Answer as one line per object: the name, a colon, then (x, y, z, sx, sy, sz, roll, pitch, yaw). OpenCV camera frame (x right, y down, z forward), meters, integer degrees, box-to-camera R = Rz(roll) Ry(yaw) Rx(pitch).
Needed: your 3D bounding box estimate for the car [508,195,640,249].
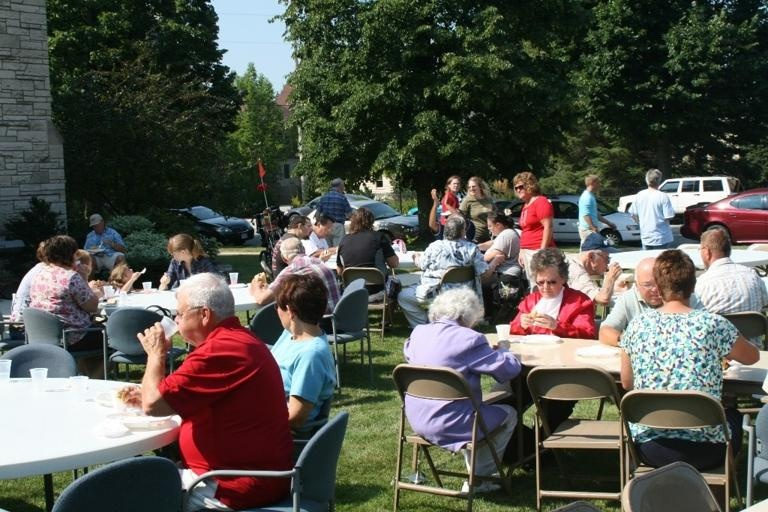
car: (5.275, -0.622, 30.162, 3.420, 1.746, 1.974, -3, 6, 9)

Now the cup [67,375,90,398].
cup: (-4.180, 1.807, 14.723, 0.249, 0.279, 0.263, -2, -11, 0)

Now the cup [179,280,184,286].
cup: (-3.204, 0.419, 17.024, 0.084, 0.091, 0.050, 0, -7, 7)

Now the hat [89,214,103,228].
hat: (-6.045, -0.750, 22.518, 0.334, 0.245, 0.451, -7, -1, -3)

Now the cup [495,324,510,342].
cup: (1.728, 1.147, 15.938, 0.206, 0.174, 0.216, 1, 6, 0)

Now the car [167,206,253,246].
car: (-5.759, -1.055, 35.717, 2.331, 0.825, 1.055, 8, 11, 27)

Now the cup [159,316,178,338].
cup: (-2.946, 0.977, 14.734, 0.260, 0.261, 0.222, 19, 6, 15)

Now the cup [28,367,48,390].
cup: (-4.756, 1.711, 14.884, 0.245, 0.280, 0.264, -1, -9, 0)

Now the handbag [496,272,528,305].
handbag: (2.342, 0.578, 19.898, 0.409, 0.624, 0.554, 5, 9, 29)

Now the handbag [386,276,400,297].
handbag: (0.132, 0.567, 19.713, 0.176, 0.240, 0.318, 9, 9, -5)

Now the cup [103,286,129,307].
cup: (-4.464, 0.687, 17.910, 0.256, 0.379, 0.381, 1, -16, -7)

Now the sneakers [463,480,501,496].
sneakers: (1.354, 3.323, 15.447, 0.571, 0.261, 0.204, -2, 2, -19)

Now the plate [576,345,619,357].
plate: (3.042, 1.383, 15.488, 0.610, 0.142, 0.315, -2, 2, 6)
